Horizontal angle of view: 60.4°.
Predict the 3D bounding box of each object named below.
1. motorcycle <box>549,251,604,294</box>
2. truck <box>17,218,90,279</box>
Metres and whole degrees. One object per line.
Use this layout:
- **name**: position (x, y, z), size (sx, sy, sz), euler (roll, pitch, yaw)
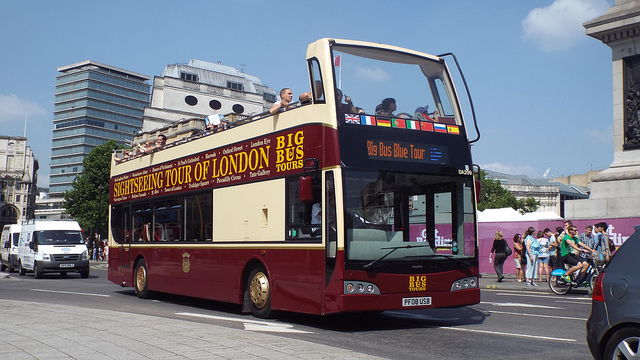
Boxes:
- **motorcycle**: position (10.157, 3.561, 21.470), size (1.139, 1.665, 2.558), euler (13, -14, -28)
- **truck**: position (-15.891, 4.146, 32.637), size (2.830, 3.573, 4.620), euler (-1, -2, -36)
